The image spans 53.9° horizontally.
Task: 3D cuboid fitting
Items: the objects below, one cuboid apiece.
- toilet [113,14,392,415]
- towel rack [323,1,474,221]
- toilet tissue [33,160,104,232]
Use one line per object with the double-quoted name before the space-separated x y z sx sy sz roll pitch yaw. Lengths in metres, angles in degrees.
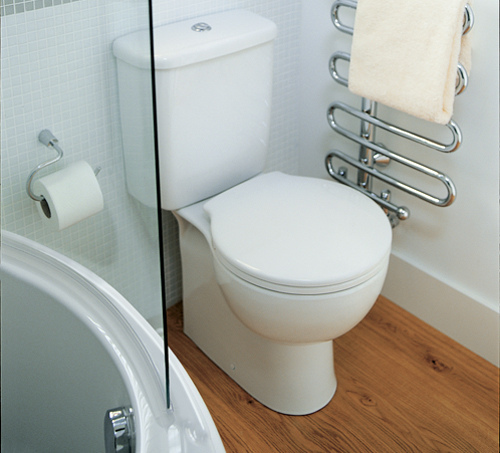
"toilet" 0.028 0.002 1.262 0.649 0.875 0.437 26 37 35
"towel rack" 0.390 -0.294 1.253 0.066 0.641 0.371 -35 55 -29
"toilet tissue" -0.192 -0.036 0.521 0.067 0.053 0.051 -29 52 -20
